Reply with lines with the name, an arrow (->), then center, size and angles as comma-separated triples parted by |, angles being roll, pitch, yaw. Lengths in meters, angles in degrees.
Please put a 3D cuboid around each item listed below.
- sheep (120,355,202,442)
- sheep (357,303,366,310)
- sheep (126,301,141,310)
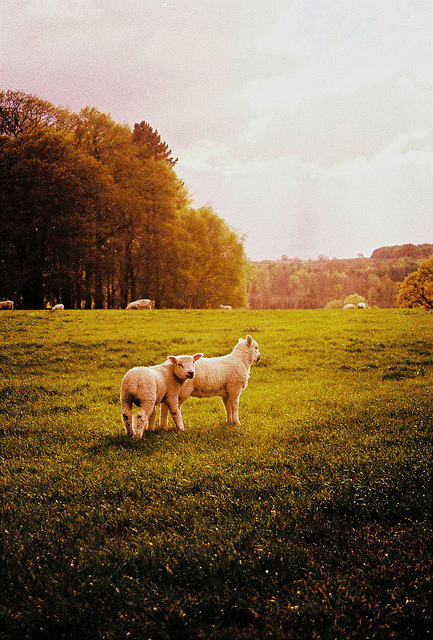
sheep -> -1.074, 1.410, 15.683 | 0.645, 1.380, 1.856 | -4, -1, 28
sheep -> 9.060, -0.875, 52.843 | 0.450, 0.306, 0.427 | -6, 7, -10
sheep -> -4.441, -0.815, 45.656 | 0.598, 0.477, 1.633 | -1, 14, 2
